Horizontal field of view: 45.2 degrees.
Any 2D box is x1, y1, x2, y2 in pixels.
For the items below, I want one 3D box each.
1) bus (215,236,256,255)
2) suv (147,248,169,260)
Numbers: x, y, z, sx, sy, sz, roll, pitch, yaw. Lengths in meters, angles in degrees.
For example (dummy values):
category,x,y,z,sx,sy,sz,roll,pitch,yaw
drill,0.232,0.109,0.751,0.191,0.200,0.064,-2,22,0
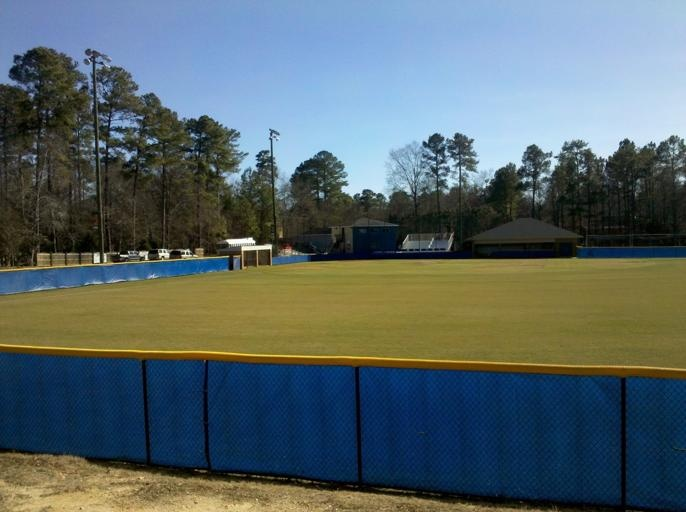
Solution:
category,x,y,z,sx,sy,sz,roll,pitch,yaw
bus,-10.466,-1.224,81.699,2.359,1.773,4.527,-1,-1,30
suv,-16.197,-0.181,73.294,1.188,1.036,2.285,2,8,14
